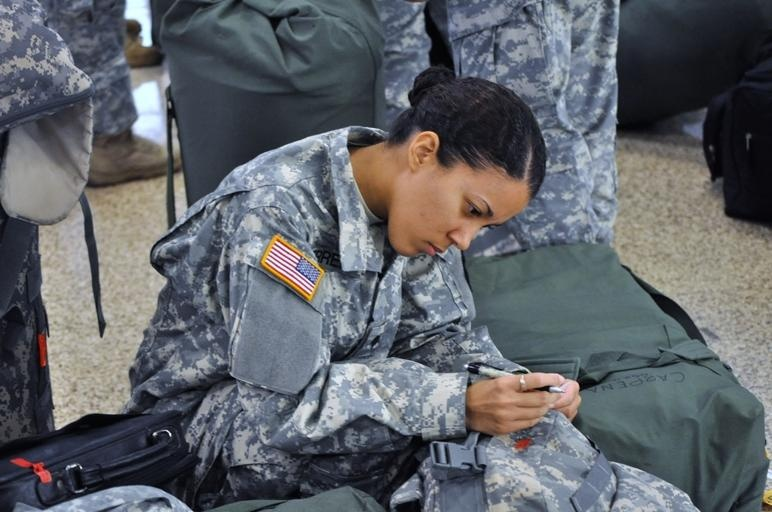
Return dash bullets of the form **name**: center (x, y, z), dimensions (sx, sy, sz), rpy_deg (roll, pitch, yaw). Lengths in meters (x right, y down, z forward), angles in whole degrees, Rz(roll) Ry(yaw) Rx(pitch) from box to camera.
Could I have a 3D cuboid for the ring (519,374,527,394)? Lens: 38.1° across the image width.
- **ring**: center (0.371, 0.338, 2.987), dimensions (0.012, 0.033, 0.026), rpy_deg (-6, 9, -4)
